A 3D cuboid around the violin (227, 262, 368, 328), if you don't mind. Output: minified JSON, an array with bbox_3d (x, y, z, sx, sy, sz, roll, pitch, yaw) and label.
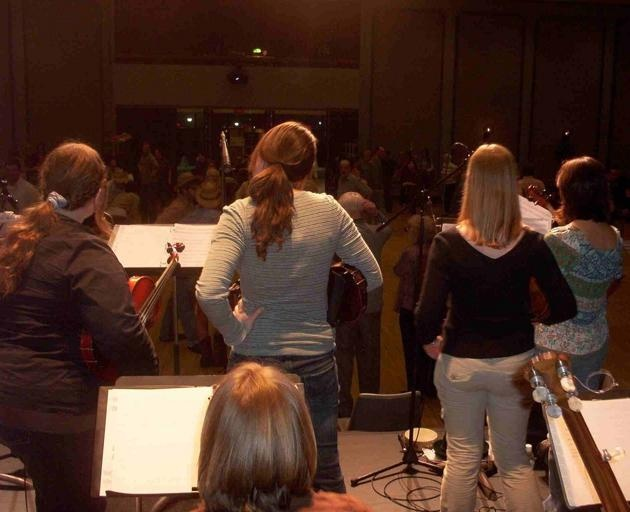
[{"bbox_3d":[-0.015,0.146,2.273,0.384,0.326,0.138,4,-2,-30],"label":"violin"}]

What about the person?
[{"bbox_3d":[-0.033,0.311,2.289,2.264,1.707,0.492,-3,7,-16],"label":"person"}]

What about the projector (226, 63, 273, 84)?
[{"bbox_3d":[-2.090,-5.729,17.223,1.141,0.934,0.401,-6,13,-27],"label":"projector"}]
